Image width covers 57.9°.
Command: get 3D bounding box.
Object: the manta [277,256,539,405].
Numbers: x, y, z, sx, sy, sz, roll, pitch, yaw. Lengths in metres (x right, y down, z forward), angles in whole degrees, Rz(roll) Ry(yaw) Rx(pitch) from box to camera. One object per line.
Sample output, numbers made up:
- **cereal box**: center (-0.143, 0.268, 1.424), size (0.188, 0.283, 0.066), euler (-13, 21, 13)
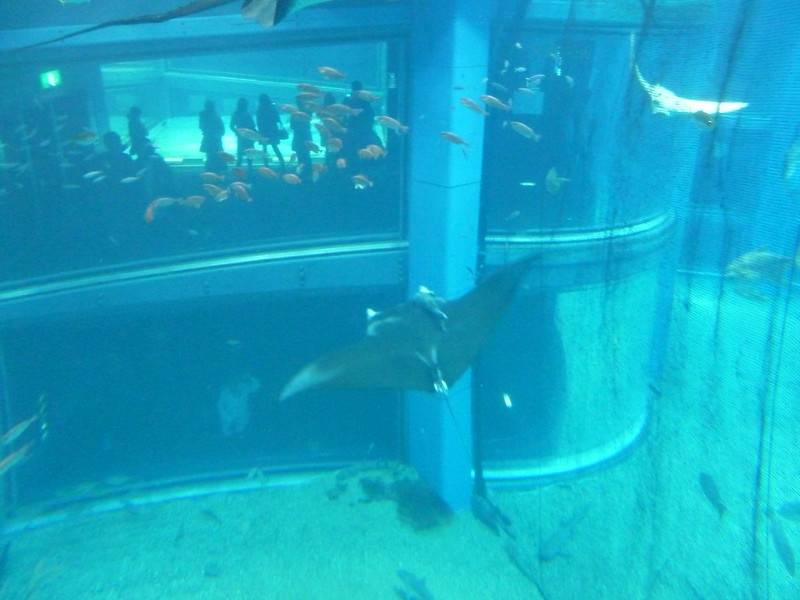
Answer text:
- **manta**: center (0.215, 0.245, 7.927), size (2.446, 1.732, 0.437), euler (2, 27, -2)
